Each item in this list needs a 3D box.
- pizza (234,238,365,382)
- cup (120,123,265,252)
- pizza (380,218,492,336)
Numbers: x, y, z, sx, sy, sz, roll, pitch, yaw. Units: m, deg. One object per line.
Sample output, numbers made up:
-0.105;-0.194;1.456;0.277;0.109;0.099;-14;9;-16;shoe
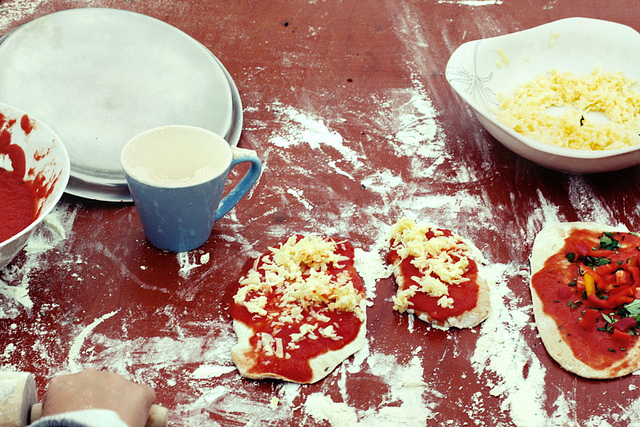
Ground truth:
-0.054;0.206;1.587;0.338;0.078;0.449;1;43;10;pizza
-0.357;-0.093;1.688;0.392;0.263;0.280;-8;44;-19;cup
0.302;0.139;1.641;0.275;0.067;0.339;-7;45;-10;pizza
